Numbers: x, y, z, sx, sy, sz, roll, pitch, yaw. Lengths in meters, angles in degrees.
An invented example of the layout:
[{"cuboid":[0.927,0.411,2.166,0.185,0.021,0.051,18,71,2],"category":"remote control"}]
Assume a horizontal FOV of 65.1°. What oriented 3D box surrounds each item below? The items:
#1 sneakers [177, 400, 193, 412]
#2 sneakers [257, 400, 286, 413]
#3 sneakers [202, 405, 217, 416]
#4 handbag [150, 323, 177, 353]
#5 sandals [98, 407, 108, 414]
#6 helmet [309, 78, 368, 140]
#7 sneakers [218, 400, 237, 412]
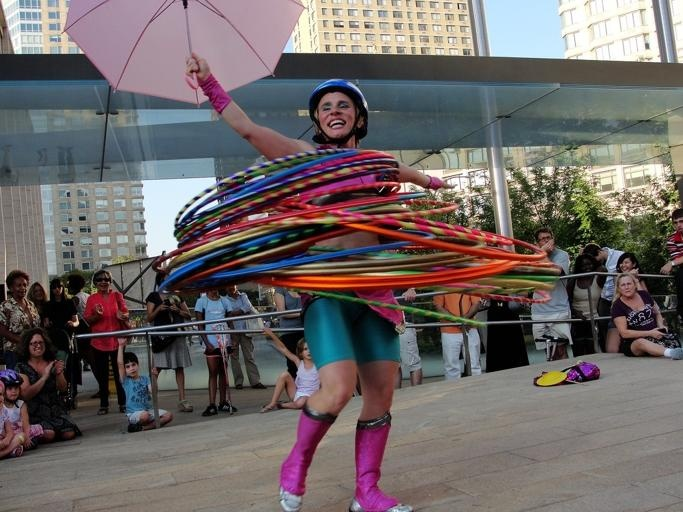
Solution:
[{"cuboid":[-1.558,1.496,5.333,0.071,0.066,0.176,2,-7,-30],"category":"sneakers"},{"cuboid":[-0.638,1.399,4.969,0.306,0.104,0.085,-5,-9,-18],"category":"sneakers"},{"cuboid":[-1.280,1.506,5.207,0.079,0.064,0.166,-3,-9,11],"category":"sneakers"},{"cuboid":[-1.826,0.825,5.347,0.084,0.246,0.265,16,43,26],"category":"handbag"},{"cuboid":[-2.594,1.682,5.818,0.062,0.054,0.150,0,-13,-7],"category":"sandals"},{"cuboid":[-0.006,-0.677,2.358,0.256,0.284,0.250,-4,24,0],"category":"helmet"},{"cuboid":[-1.110,1.456,5.209,0.219,0.077,0.077,-1,-3,30],"category":"sneakers"}]
